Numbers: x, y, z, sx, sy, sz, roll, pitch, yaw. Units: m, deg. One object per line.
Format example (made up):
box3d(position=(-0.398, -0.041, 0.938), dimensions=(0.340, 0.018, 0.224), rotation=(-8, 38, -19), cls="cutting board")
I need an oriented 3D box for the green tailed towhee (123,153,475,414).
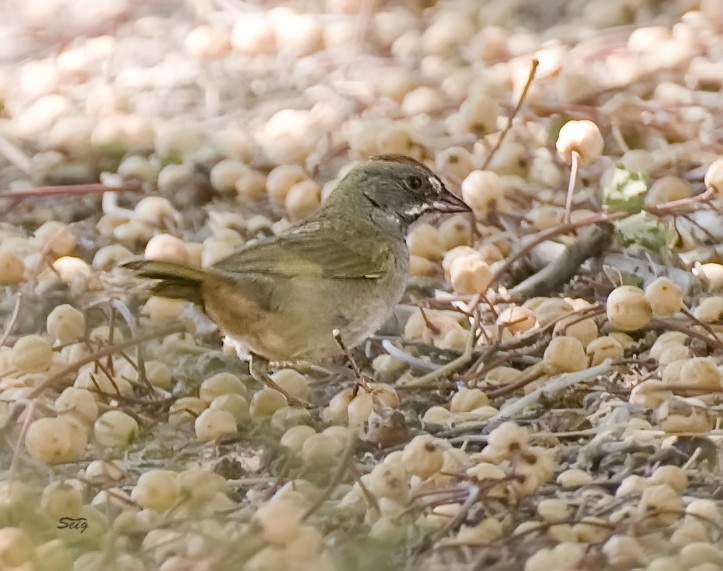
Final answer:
box3d(position=(-0.163, -0.033, 2.348), dimensions=(0.909, 0.455, 0.301), rotation=(-6, 4, -8), cls="green tailed towhee")
